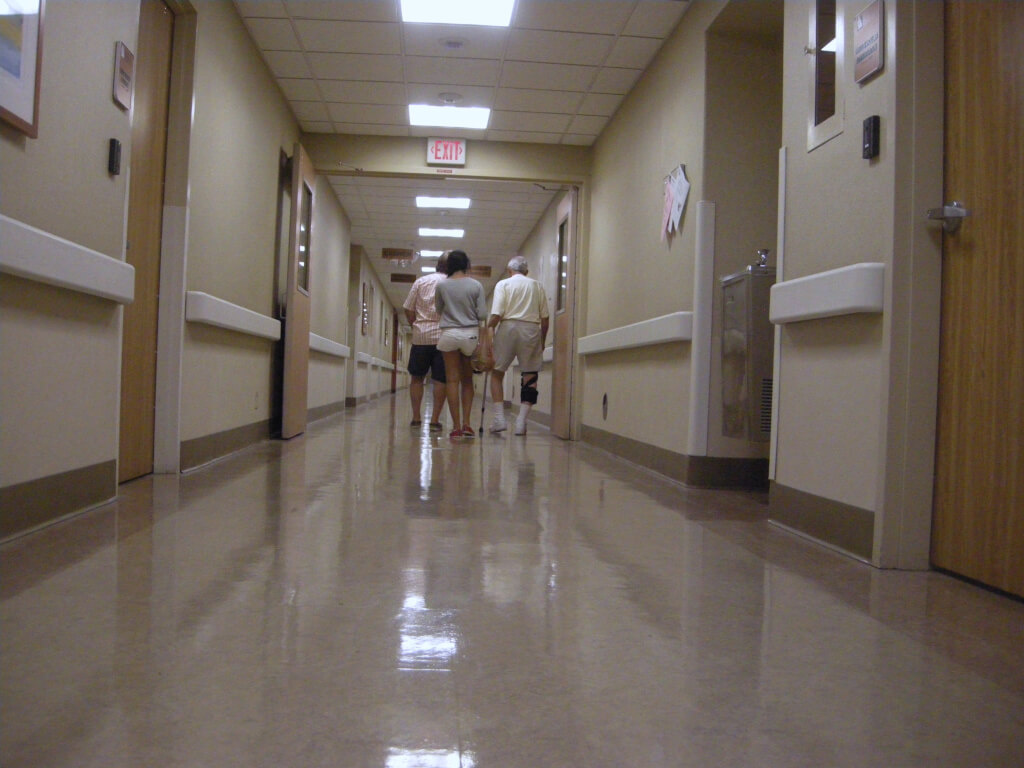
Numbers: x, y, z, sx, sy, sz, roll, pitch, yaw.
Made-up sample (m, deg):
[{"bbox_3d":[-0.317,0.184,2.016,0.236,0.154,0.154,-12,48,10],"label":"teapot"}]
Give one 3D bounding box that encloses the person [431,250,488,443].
[{"bbox_3d":[-0.487,-0.374,6.899,0.463,1.744,0.567,1,4,-6],"label":"person"}]
